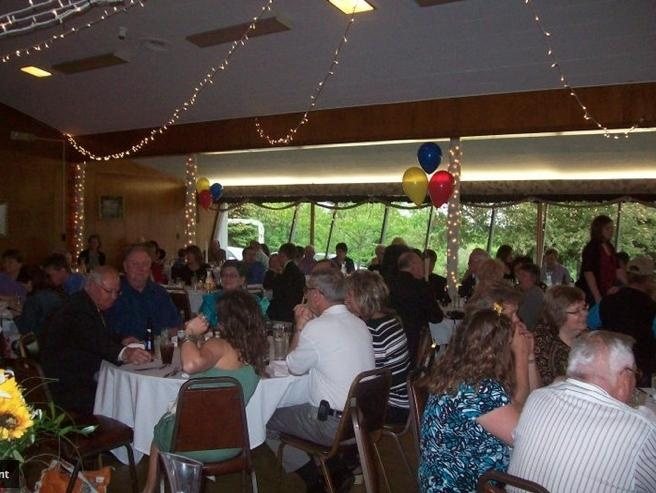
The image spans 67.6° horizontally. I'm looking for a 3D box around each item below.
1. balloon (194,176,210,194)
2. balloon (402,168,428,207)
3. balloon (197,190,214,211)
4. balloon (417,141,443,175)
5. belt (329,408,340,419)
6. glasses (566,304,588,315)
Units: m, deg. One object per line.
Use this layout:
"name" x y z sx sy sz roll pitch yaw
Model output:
"balloon" -2.477 -1.216 9.810 0.282 0.370 0.295 11 20 41
"balloon" 1.167 -0.825 6.695 0.293 0.557 0.349 20 -27 -29
"balloon" -2.354 -0.918 9.433 0.231 0.340 0.294 1 1 -14
"balloon" 1.357 -1.184 6.606 0.341 0.512 0.372 0 0 4
"belt" 0.044 0.999 2.922 0.055 0.023 0.044 7 2 10
"glasses" 1.590 0.401 3.121 0.079 0.028 0.085 -6 6 -17
